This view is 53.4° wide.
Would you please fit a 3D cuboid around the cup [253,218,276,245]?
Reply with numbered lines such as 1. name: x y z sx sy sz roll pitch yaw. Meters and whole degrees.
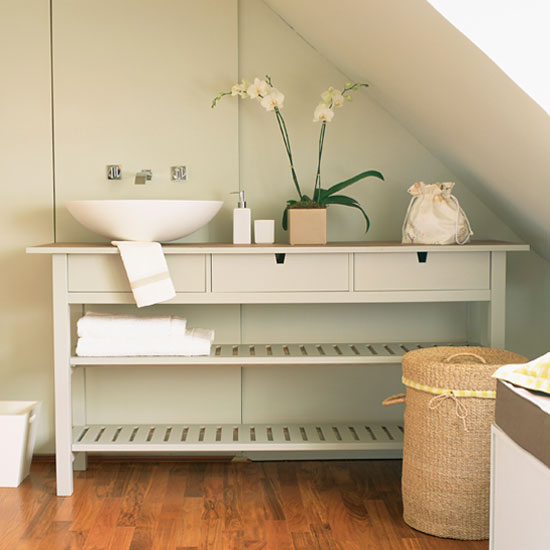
1. cup: -0.041 -0.163 2.081 0.098 0.086 0.095 -3 5 0

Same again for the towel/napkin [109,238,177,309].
1. towel/napkin: -0.423 -0.002 1.828 0.194 0.217 0.063 -18 -1 -13

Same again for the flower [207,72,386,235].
1. flower: 0.089 -0.451 2.170 0.678 0.582 0.299 -1 12 -3

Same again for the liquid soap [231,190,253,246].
1. liquid soap: -0.123 -0.218 2.068 0.059 0.197 0.068 1 5 10

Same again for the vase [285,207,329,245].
1. vase: 0.114 -0.177 1.995 0.150 0.129 0.136 -1 2 -3
